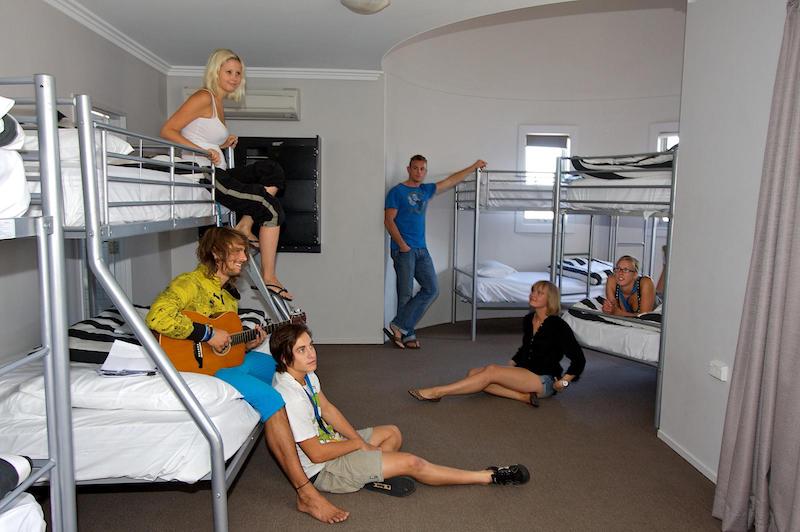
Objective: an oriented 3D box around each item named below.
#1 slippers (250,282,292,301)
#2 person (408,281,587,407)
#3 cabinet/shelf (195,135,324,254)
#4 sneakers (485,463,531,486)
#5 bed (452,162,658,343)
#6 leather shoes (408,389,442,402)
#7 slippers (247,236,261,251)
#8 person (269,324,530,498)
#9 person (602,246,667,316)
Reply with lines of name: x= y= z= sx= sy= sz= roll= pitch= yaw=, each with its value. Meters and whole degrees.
slippers: x=-1.162 y=0.227 z=4.798 sx=0.306 sy=0.071 sz=0.137 roll=21 pitch=4 yaw=-8
person: x=0.802 y=0.632 z=4.685 sx=1.467 sy=1.044 sz=0.681 roll=-4 pitch=8 yaw=-6
cabinet/shelf: x=-1.223 y=-0.800 z=6.096 sx=1.026 sy=1.282 sz=0.814 roll=-1 pitch=9 yaw=8
sneakers: x=0.705 y=1.345 z=3.473 sx=0.299 sy=0.103 sz=0.128 roll=-3 pitch=0 yaw=11
bed: x=1.861 y=-0.232 z=6.479 sx=2.574 sy=1.917 sz=1.038 roll=-1 pitch=6 yaw=-13
leather shoes: x=0.213 y=1.100 z=4.611 sx=0.286 sy=0.062 sz=0.104 roll=7 pitch=-2 yaw=-7
slippers: x=-1.180 y=-0.175 z=4.407 sx=0.093 sy=0.186 sz=0.277 roll=-1 pitch=-7 yaw=-12
person: x=-0.007 y=0.946 z=3.455 sx=1.637 sy=1.011 sz=0.661 roll=3 pitch=8 yaw=7
person: x=2.305 y=0.154 z=5.076 sx=1.252 sy=0.536 sz=0.460 roll=-5 pitch=10 yaw=-44
